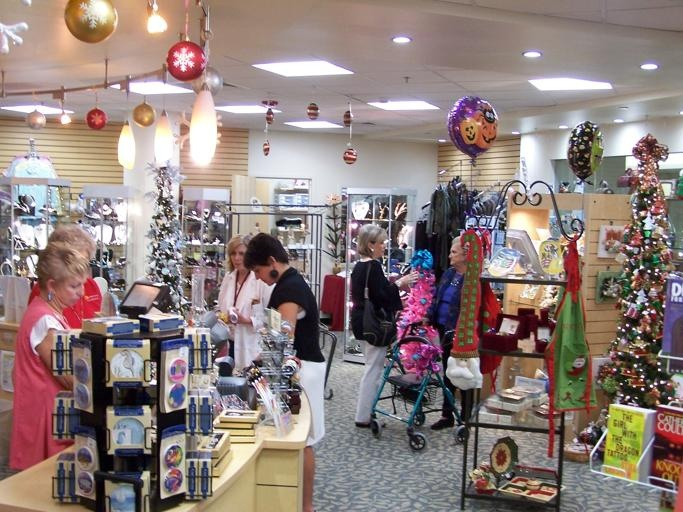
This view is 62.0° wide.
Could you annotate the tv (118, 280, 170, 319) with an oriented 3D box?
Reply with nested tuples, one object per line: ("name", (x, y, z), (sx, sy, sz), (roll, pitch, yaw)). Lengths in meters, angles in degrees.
("tv", (-1.065, 0.253, 3.119), (0.231, 0.225, 0.187), (3, 2, 28))

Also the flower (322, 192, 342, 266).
("flower", (-0.131, -0.575, 12.939), (0.496, 1.652, 0.495), (-7, 11, -18))

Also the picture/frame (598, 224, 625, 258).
("picture/frame", (2.753, -0.144, 5.846), (0.307, 0.333, 0.033), (-5, 7, -19))

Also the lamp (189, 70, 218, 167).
("lamp", (-0.819, -0.814, 3.366), (0.144, 0.516, 0.241), (-1, 5, -16))

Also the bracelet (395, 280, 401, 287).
("bracelet", (0.640, 0.320, 6.413), (0.014, 0.063, 0.062), (4, 4, -27))

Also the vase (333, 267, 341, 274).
("vase", (-0.082, 0.317, 12.194), (0.165, 0.150, 0.451), (0, 5, -6))

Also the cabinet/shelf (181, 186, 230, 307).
("cabinet/shelf", (-2.381, -0.151, 9.979), (0.765, 2.819, 0.611), (0, 38, -18))

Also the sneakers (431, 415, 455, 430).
("sneakers", (1.126, 1.863, 6.362), (0.295, 0.133, 0.109), (0, 1, -19))

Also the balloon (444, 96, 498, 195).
("balloon", (1.278, -1.280, 6.016), (0.607, 0.868, 0.655), (0, 0, 5))

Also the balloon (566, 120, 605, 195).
("balloon", (2.541, -1.099, 5.968), (0.336, 0.640, 0.424), (2, 5, 23))

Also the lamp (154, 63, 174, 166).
("lamp", (-1.789, -1.396, 5.729), (0.162, 0.878, 0.156), (5, 11, 0))

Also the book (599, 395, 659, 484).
("book", (1.269, 0.826, 2.522), (0.198, 0.297, 0.144), (3, 6, 30))

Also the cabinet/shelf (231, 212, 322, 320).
("cabinet/shelf", (-1.083, -0.084, 11.530), (1.775, 2.579, 1.808), (0, 0, -7))

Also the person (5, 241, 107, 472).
("person", (-1.586, 0.540, 3.103), (0.371, 1.212, 0.279), (2, 5, 15))

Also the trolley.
("trolley", (0.835, 1.328, 6.135), (0.886, 1.301, 0.793), (2, 0, -27))

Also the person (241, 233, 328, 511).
("person", (-0.373, 0.813, 3.819), (0.554, 1.920, 0.704), (0, 5, -7))

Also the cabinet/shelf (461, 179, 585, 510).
("cabinet/shelf", (1.545, 0.716, 4.745), (1.021, 2.657, 1.344), (2, 5, 20))
